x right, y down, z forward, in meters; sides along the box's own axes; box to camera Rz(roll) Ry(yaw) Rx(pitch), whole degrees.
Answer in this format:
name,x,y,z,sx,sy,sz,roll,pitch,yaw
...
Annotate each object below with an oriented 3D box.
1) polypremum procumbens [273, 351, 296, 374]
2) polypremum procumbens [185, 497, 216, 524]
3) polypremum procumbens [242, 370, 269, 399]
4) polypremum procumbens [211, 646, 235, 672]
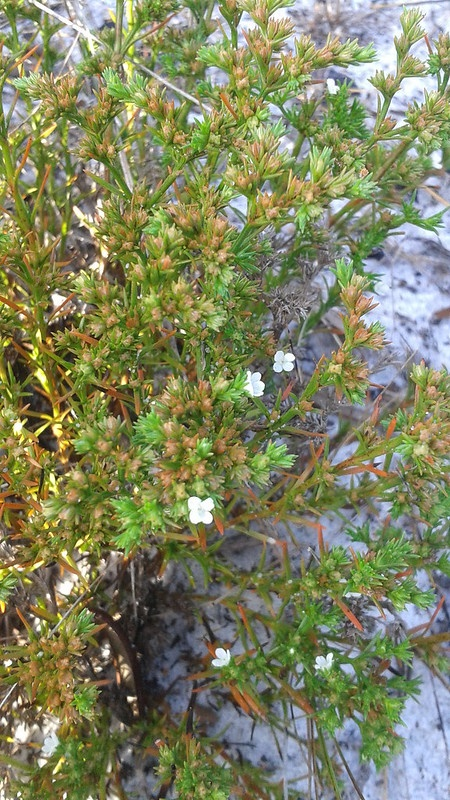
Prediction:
name,x,y,z,sx,sy,sz,roll,pitch,yaw
polypremum procumbens,0.223,-0.145,2.344,0.082,0.041,0.085,-7,104,-17
polypremum procumbens,-0.068,0.326,1.725,0.069,0.242,0.072,-4,69,-3
polypremum procumbens,0.090,-0.044,1.887,0.037,0.081,0.082,-20,53,37
polypremum procumbens,-0.017,0.920,2.178,0.072,0.183,0.071,-33,73,-13
